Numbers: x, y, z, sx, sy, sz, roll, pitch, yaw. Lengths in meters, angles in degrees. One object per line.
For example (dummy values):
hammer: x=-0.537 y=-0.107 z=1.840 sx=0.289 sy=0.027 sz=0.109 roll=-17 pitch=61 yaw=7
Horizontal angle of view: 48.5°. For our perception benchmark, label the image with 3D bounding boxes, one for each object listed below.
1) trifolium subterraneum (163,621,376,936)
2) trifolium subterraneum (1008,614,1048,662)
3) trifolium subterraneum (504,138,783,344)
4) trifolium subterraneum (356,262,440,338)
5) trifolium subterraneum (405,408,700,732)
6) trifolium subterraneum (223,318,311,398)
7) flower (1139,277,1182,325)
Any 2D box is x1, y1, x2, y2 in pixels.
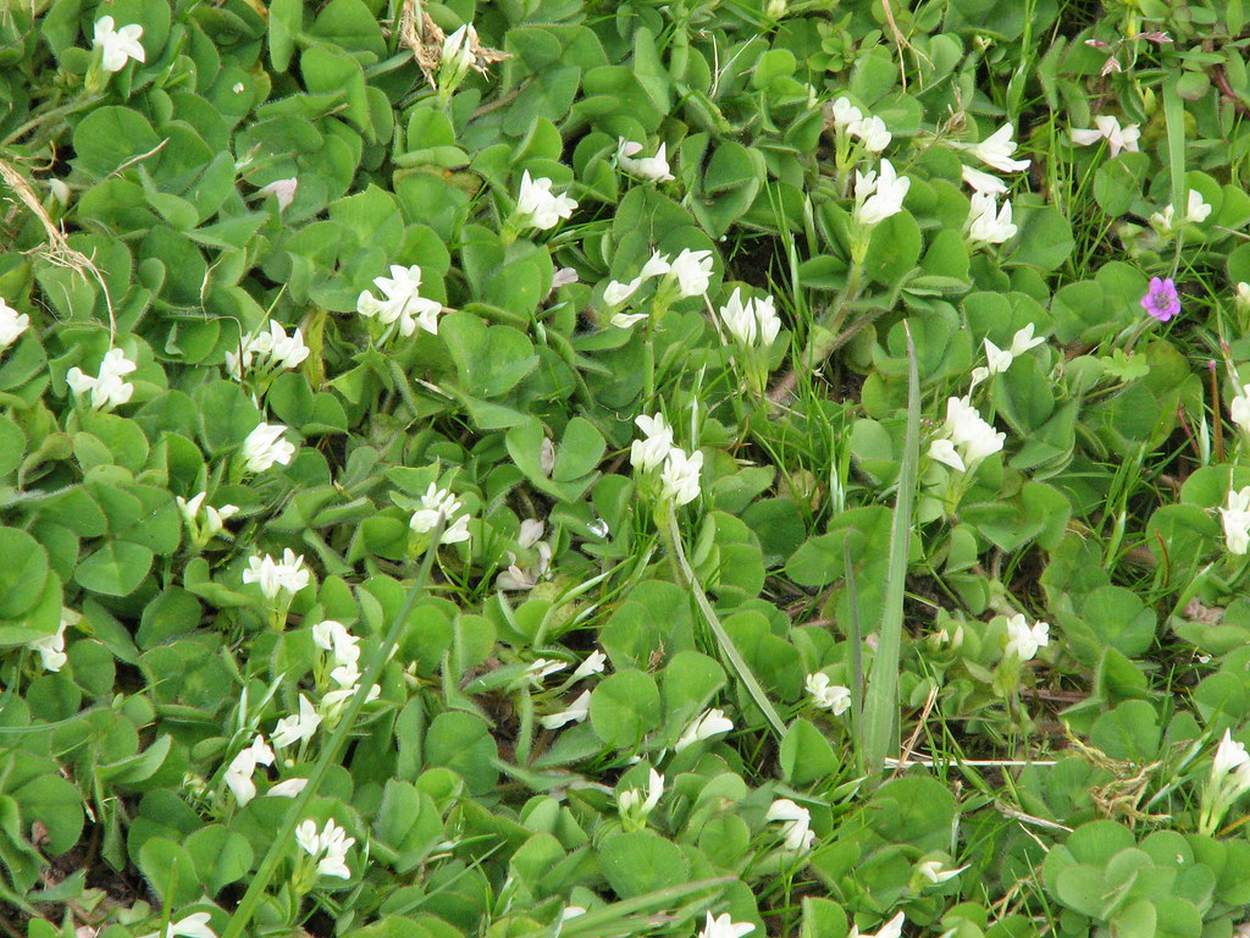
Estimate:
trifolium subterraneum: x=-0.566 y=0.544 z=2.280 sx=0.232 sy=0.159 sz=0.589 roll=13 pitch=78 yaw=3
trifolium subterraneum: x=0.790 y=0.328 z=2.710 sx=0.084 sy=0.059 sz=0.076 roll=6 pitch=61 yaw=-5
trifolium subterraneum: x=0.032 y=-0.499 z=2.897 sx=0.458 sy=0.225 sz=0.420 roll=-37 pitch=74 yaw=-23
trifolium subterraneum: x=-0.423 y=-0.319 z=2.631 sx=0.123 sy=0.076 sz=0.152 roll=-6 pitch=48 yaw=-20
trifolium subterraneum: x=-0.053 y=0.099 z=2.666 sx=0.564 sy=0.338 sz=0.470 roll=-36 pitch=72 yaw=-23
trifolium subterraneum: x=-0.678 y=-0.213 z=2.627 sx=0.123 sy=0.062 sz=0.168 roll=-6 pitch=89 yaw=9
flower: x=1.184 y=-0.371 z=3.099 sx=0.082 sy=0.090 sz=0.105 roll=-4 pitch=62 yaw=-9
